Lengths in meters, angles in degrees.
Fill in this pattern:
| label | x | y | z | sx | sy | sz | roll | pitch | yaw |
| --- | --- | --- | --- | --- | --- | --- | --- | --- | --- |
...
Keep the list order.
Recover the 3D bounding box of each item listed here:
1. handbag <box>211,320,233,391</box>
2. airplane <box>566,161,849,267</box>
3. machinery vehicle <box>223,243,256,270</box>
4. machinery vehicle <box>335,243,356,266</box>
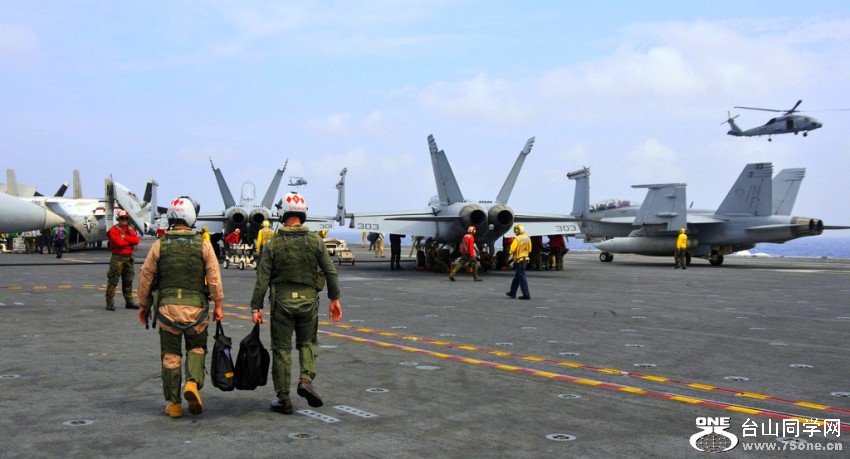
| label | x | y | z | sx | sy | sz | roll | pitch | yaw |
| --- | --- | --- | --- | --- | --- | --- | --- | --- | --- |
| handbag | -3.294 | 2.097 | 10.271 | 0.364 | 1.210 | 0.514 | 2 | 3 | -16 |
| airplane | 17.215 | -0.716 | 37.294 | 13.666 | 6.233 | 11.572 | 1 | 3 | -1 |
| machinery vehicle | -9.921 | 1.444 | 33.534 | 1.376 | 1.163 | 1.969 | 2 | 0 | -36 |
| machinery vehicle | -4.898 | 1.537 | 38.272 | 1.712 | 1.042 | 3.754 | 0 | -2 | -8 |
